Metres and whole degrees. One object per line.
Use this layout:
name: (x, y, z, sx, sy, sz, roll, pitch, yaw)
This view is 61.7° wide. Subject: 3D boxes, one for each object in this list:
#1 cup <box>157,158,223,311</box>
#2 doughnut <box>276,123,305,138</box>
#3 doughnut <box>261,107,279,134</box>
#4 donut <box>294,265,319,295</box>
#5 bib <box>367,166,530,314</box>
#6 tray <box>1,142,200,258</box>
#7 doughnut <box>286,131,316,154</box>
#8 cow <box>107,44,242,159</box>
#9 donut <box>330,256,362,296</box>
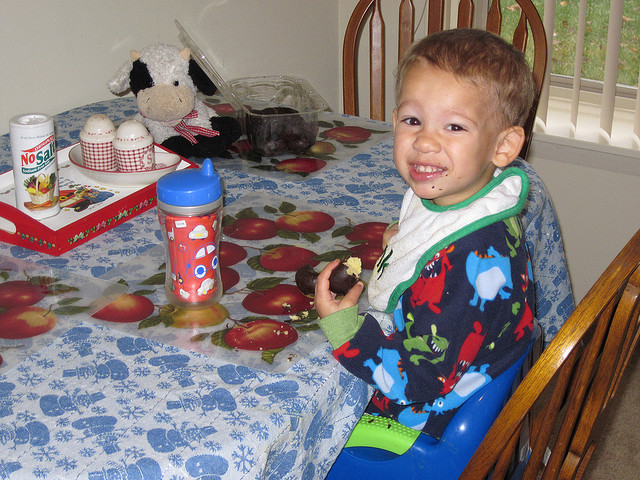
cup: (-0.187, 0.000, 0.854, 0.120, 0.247, 0.099, 9, 35, -1)
doughnut: (-0.071, -0.265, 1.308, 0.054, 0.013, 0.041, -4, 1, 43)
doughnut: (-0.121, -0.284, 1.284, 0.051, 0.066, 0.047, -13, 30, -30)
donut: (-0.031, 0.065, 0.894, 0.049, 0.038, 0.049, 0, 29, -4)
bib: (0.162, -0.023, 0.939, 0.330, 0.225, 0.293, 10, 28, 14)
tray: (-0.417, -0.068, 1.004, 0.406, 0.092, 0.311, 8, 27, 20)
doughnut: (-0.050, -0.246, 1.362, 0.067, 0.037, 0.049, -23, 21, 0)
cow: (-0.370, -0.345, 1.333, 0.336, 0.210, 0.213, 31, 58, 20)
donut: (0.046, 0.066, 0.900, 0.073, 0.027, 0.080, 3, 17, 0)
